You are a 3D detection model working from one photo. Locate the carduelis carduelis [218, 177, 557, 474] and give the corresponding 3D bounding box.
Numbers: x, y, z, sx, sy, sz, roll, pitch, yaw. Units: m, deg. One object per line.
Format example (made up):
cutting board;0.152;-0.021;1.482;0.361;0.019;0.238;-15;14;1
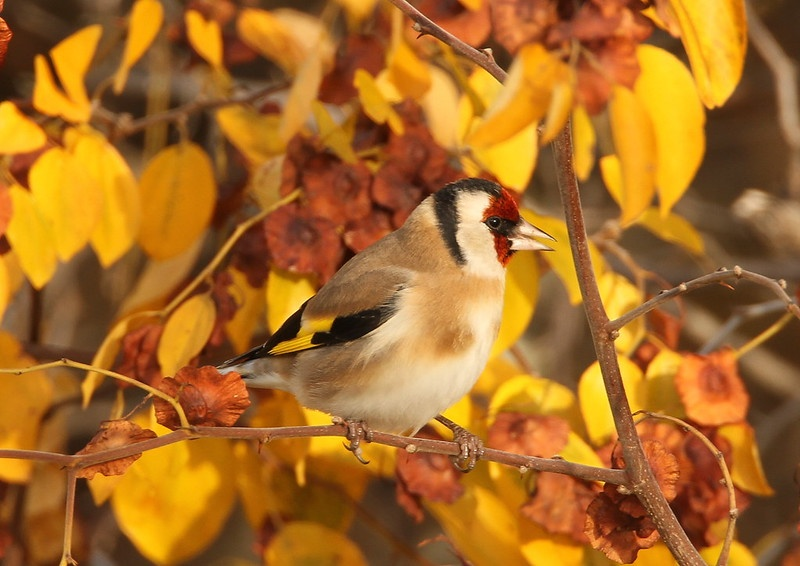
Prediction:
carduelis carduelis;-0.041;0.045;1.646;0.505;0.400;0.252;3;1;18
